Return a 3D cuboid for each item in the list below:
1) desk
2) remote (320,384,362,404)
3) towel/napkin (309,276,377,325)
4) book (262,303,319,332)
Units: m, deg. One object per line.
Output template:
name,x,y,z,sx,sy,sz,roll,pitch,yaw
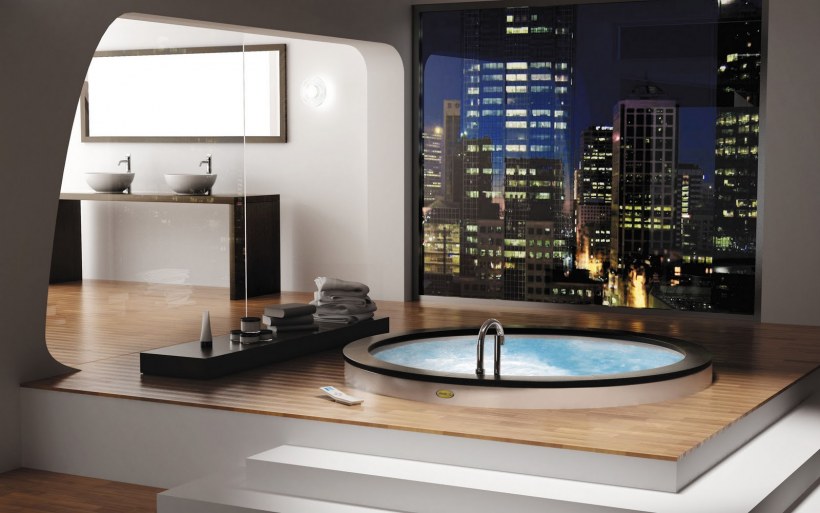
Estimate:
desk,-2.174,-0.157,5.349,1.498,0.609,0.527,0,3,-4
remote,-0.446,0.886,4.063,0.204,0.036,0.115,7,10,34
towel/napkin,-0.588,0.373,5.622,0.478,0.285,0.461,0,1,13
book,-1.006,0.491,5.300,0.260,0.136,0.319,5,6,43
